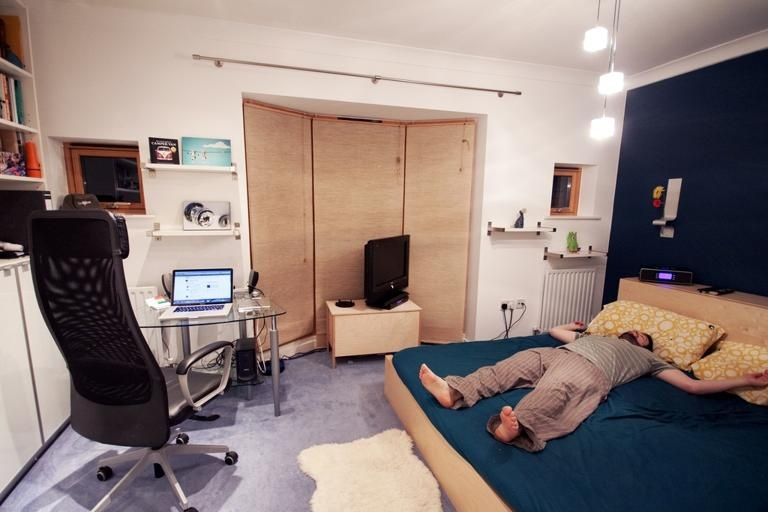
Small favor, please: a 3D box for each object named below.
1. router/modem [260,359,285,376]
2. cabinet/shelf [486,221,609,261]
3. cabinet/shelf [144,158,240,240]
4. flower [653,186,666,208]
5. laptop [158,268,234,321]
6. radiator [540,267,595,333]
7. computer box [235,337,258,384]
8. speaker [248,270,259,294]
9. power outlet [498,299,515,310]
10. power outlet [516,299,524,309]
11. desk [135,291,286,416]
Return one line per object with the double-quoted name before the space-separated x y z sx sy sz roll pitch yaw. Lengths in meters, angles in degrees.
"router/modem" -1.092 1.091 4.870 0.326 0.138 0.401 0 -1 -10
"cabinet/shelf" 1.834 -0.173 5.539 1.446 0.447 0.340 -4 10 -21
"cabinet/shelf" -1.832 -0.545 4.688 0.850 0.633 0.269 0 4 -13
"flower" 2.838 -0.612 5.217 0.029 0.225 0.123 -7 11 -28
"laptop" -1.626 0.325 4.485 0.568 0.360 0.446 1 4 -12
"radiator" 2.005 0.473 5.582 0.808 0.820 0.114 0 9 -18
"computer box" -1.296 0.992 4.827 0.217 0.358 0.339 -3 5 -5
"speaker" -1.204 0.249 4.778 0.128 0.203 0.054 3 -5 44
"power outlet" 1.344 0.537 5.583 0.136 0.087 0.018 -1 10 -11
"power outlet" 1.527 0.542 5.629 0.108 0.090 0.024 3 -2 -7
"desk" -1.565 0.724 4.703 1.198 0.803 1.134 -2 5 -25
